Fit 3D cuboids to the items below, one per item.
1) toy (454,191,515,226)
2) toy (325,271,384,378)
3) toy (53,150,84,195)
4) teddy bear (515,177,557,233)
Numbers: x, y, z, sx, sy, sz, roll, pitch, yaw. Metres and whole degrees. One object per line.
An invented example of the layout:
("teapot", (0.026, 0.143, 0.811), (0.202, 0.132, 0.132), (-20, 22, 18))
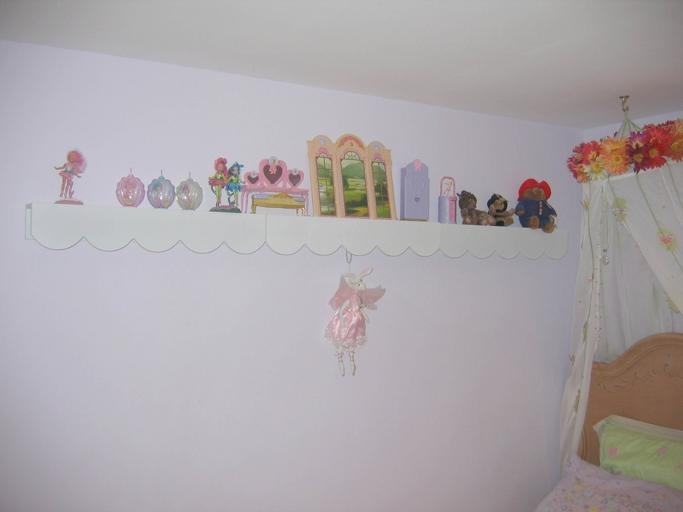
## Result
("toy", (0.967, -0.311, 4.132), (0.365, 0.224, 0.231), (0, 0, -20))
("toy", (0.091, 0.431, 3.940), (0.363, 0.680, 0.221), (0, 0, 1))
("toy", (-1.514, -0.459, 3.462), (0.155, 0.302, 0.191), (0, 0, -29))
("teddy bear", (1.313, -0.350, 4.158), (0.276, 0.392, 0.267), (5, -5, 8))
